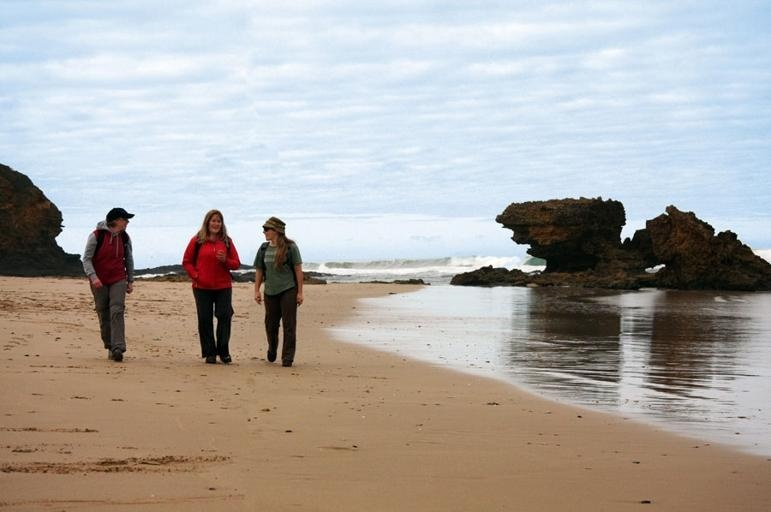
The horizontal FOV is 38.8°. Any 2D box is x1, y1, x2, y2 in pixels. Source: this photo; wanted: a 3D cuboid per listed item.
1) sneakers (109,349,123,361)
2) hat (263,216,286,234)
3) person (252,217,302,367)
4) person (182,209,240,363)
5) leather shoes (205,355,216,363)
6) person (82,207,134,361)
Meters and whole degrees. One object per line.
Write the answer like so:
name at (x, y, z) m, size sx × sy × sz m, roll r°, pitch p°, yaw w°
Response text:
sneakers at (-4.449, 1.646, 18.227) m, size 0.244 × 0.186 × 0.307 m, roll 0°, pitch 4°, yaw -11°
hat at (-1.861, -0.516, 18.606) m, size 0.308 × 0.272 × 0.614 m, roll 0°, pitch 4°, yaw -9°
person at (-1.853, 0.610, 18.921) m, size 0.858 × 2.537 × 0.673 m, roll 2°, pitch 6°, yaw 13°
person at (-2.938, 0.539, 18.741) m, size 0.911 × 2.613 × 0.639 m, roll -1°, pitch 6°, yaw -16°
leather shoes at (-2.944, 1.753, 18.659) m, size 0.193 × 0.129 × 0.236 m, roll 0°, pitch 4°, yaw -10°
person at (-4.625, 0.471, 18.435) m, size 0.782 × 2.539 × 0.902 m, roll -1°, pitch 6°, yaw -13°
